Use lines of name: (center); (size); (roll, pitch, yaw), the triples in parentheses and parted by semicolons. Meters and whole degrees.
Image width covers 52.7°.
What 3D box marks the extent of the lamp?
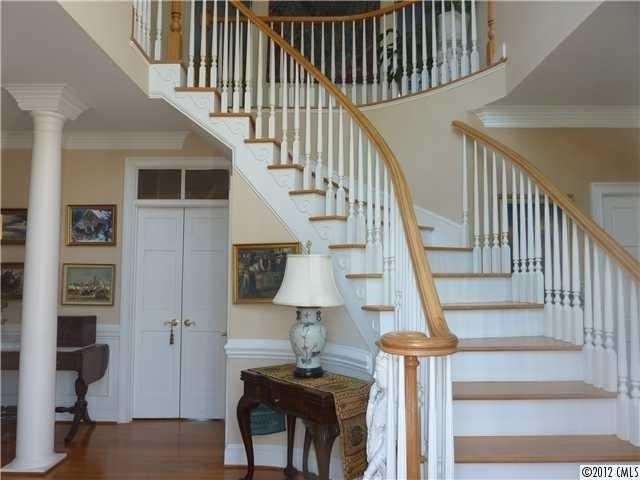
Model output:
lamp: (-0.119, 0.666, 5.643); (0.533, 1.082, 0.404); (-1, 5, -23)

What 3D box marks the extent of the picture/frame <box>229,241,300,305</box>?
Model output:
picture/frame: (-0.518, 0.327, 6.197); (0.531, 0.532, 0.039); (0, 0, 7)

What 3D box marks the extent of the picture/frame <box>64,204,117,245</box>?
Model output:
picture/frame: (-2.645, -0.160, 7.401); (0.395, 0.385, 0.032); (0, -5, -3)
